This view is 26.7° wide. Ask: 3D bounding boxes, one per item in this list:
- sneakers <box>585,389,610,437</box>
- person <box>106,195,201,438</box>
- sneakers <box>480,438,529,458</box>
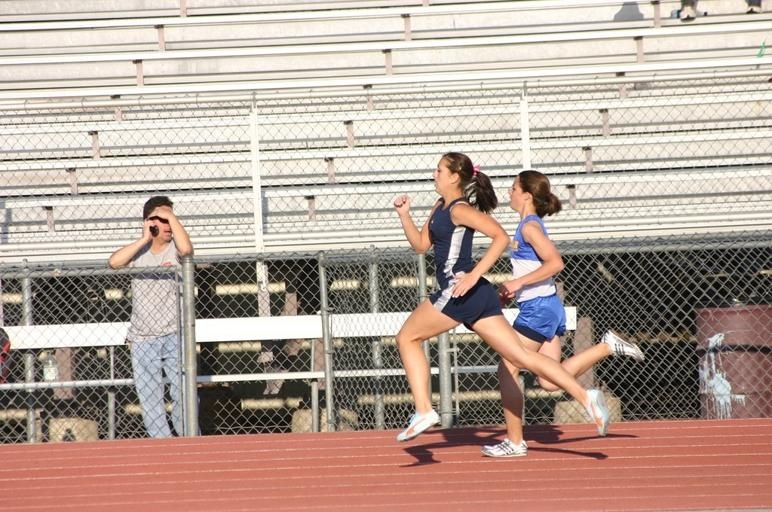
[{"bbox_3d":[2.347,1.714,18.223,0.228,0.560,0.202,-16,-2,3],"label":"sneakers"},{"bbox_3d":[-2.769,0.719,19.602,0.876,2.912,0.504,-3,-5,-4],"label":"person"},{"bbox_3d":[1.337,2.186,18.531,0.543,0.221,0.203,2,-10,0],"label":"sneakers"}]
